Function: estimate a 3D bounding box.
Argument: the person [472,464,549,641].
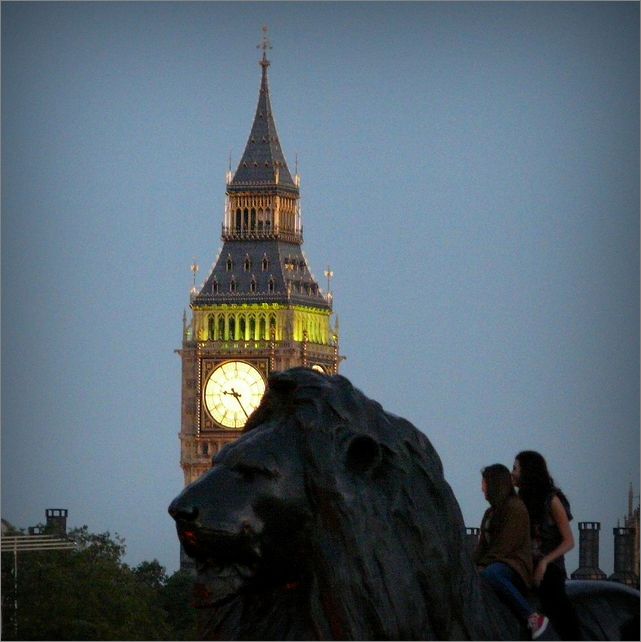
[{"bbox_3d":[1.218,1.486,12.214,0.444,1.143,0.602,-1,-16,4],"label":"person"}]
